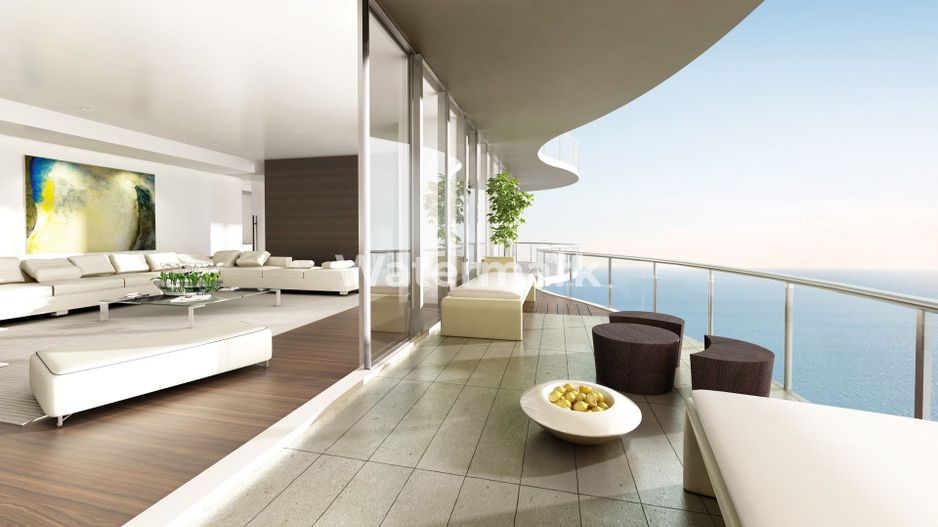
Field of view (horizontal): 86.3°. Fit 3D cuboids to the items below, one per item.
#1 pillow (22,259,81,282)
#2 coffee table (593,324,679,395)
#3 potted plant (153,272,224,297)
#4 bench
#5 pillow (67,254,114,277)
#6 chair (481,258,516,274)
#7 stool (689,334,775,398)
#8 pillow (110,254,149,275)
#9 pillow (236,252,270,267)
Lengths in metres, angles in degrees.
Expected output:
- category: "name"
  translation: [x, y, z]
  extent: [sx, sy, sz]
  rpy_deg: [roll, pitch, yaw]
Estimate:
- category: "pillow"
  translation: [-7.910, 0.114, 9.351]
  extent: [0.618, 0.197, 0.605]
  rpy_deg: [11, 5, 28]
- category: "coffee table"
  translation: [2.312, 1.304, 6.758]
  extent: [1.039, 0.721, 1.261]
  rpy_deg: [4, 5, 41]
- category: "potted plant"
  translation: [-5.085, 0.373, 9.049]
  extent: [0.970, 0.443, 0.550]
  rpy_deg: [-4, 5, -21]
- category: "bench"
  translation: [0.305, 0.710, 8.219]
  extent: [1.275, 0.875, 1.139]
  rpy_deg: [-1, 5, 14]
- category: "pillow"
  translation: [-7.544, 0.038, 10.030]
  extent: [0.142, 0.474, 0.517]
  rpy_deg: [-26, -6, 28]
- category: "chair"
  translation: [0.603, 0.045, 10.316]
  extent: [0.447, 0.309, 0.442]
  rpy_deg: [-1, -1, 33]
- category: "stool"
  translation: [3.292, 1.295, 6.225]
  extent: [0.843, 0.479, 0.837]
  rpy_deg: [3, 15, 28]
- category: "pillow"
  translation: [-7.454, 0.041, 10.757]
  extent: [0.142, 0.414, 0.586]
  rpy_deg: [-17, -1, 31]
- category: "pillow"
  translation: [-5.196, -0.102, 11.989]
  extent: [0.503, 0.146, 0.474]
  rpy_deg: [-9, 10, -25]
